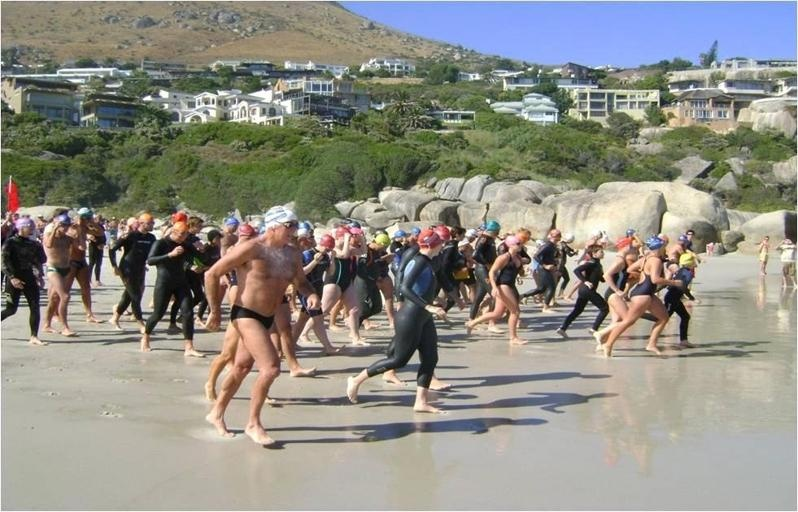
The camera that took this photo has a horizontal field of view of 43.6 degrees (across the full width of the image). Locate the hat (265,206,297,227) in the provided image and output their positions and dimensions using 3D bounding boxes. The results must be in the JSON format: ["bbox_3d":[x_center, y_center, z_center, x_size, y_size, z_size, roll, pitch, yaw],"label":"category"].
[{"bbox_3d":[-2.013,-0.646,16.861,0.369,0.293,0.436,-2,7,-2],"label":"hat"}]
